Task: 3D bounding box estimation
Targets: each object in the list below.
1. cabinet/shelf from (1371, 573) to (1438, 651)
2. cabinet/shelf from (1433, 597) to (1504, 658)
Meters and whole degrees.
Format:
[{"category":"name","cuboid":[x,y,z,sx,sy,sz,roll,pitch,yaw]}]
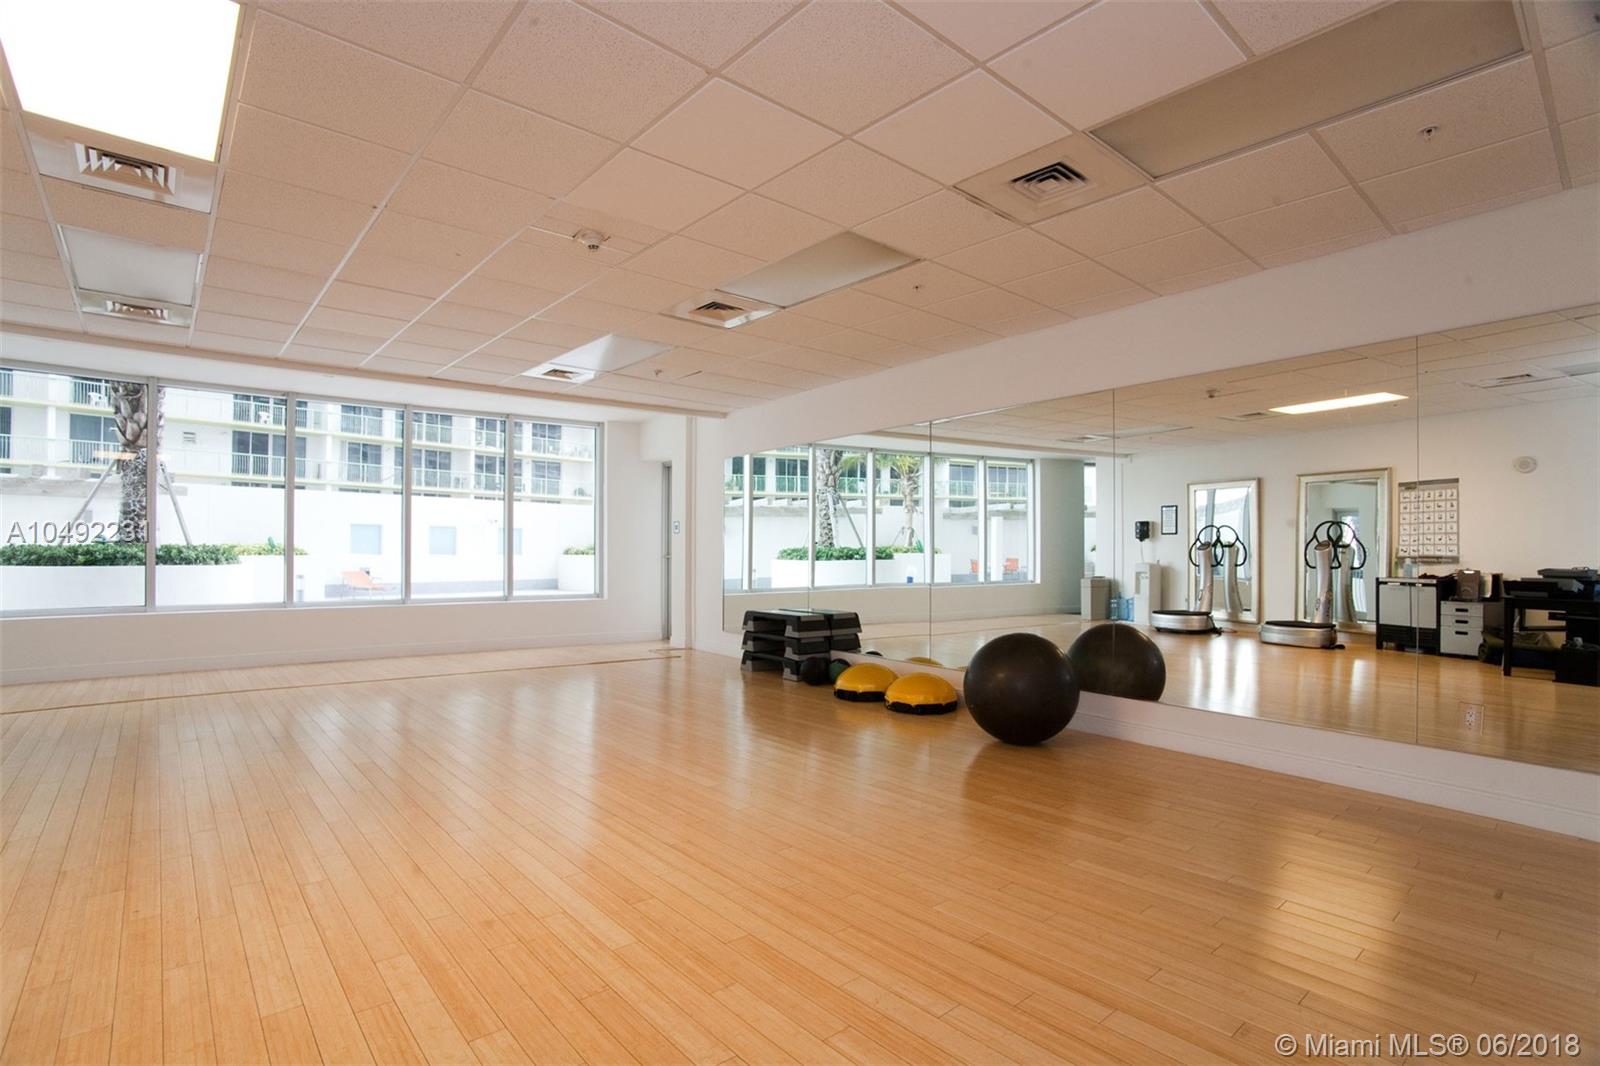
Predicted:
[{"category":"cabinet/shelf","cuboid":[4.014,0.529,5.988,0.367,0.477,0.177,8,16,29]},{"category":"cabinet/shelf","cuboid":[4.291,0.601,5.805,0.307,0.372,0.114,6,16,25]}]
